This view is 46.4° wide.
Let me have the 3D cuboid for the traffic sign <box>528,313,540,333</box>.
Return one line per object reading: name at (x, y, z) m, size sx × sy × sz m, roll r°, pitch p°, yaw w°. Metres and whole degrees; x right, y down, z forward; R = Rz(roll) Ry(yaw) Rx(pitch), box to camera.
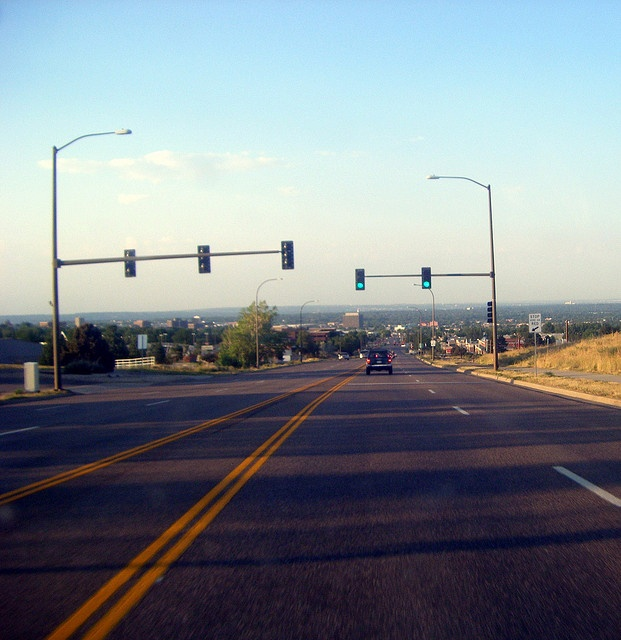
traffic sign at (9.406, 0.099, 30.352) m, size 0.621 × 1.119 × 0.097 m, roll -2°, pitch 2°, yaw -7°
